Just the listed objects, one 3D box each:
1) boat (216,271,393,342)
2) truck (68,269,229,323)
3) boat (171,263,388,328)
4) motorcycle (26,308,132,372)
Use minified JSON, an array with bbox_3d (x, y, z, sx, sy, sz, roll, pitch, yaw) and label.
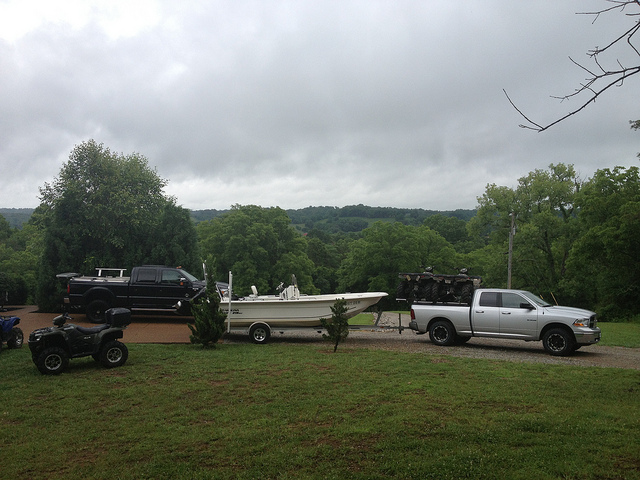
[{"bbox_3d":[-0.986,2.605,16.713,5.008,2.073,3.427,0,7,6],"label":"boat"},{"bbox_3d":[-6.783,2.078,19.321,6.036,2.081,2.614,0,-2,-4],"label":"truck"},{"bbox_3d":[-1.490,2.103,16.876,7.320,1.692,2.627,2,8,14],"label":"boat"},{"bbox_3d":[-6.432,2.586,13.149,2.474,1.587,1.356,5,-8,-32],"label":"motorcycle"}]
